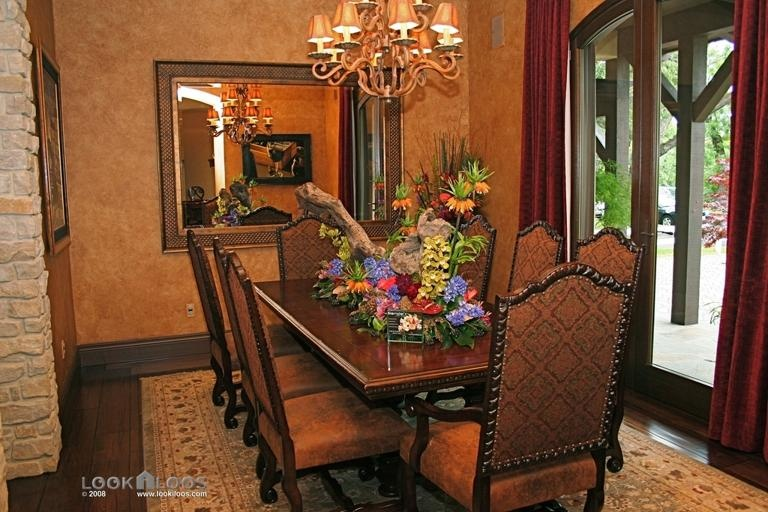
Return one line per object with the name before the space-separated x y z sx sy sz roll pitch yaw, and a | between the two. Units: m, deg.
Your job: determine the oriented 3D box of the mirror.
mirror | -1.277 -1.114 5.981 2.325 1.687 0.092 -2 9 -20
